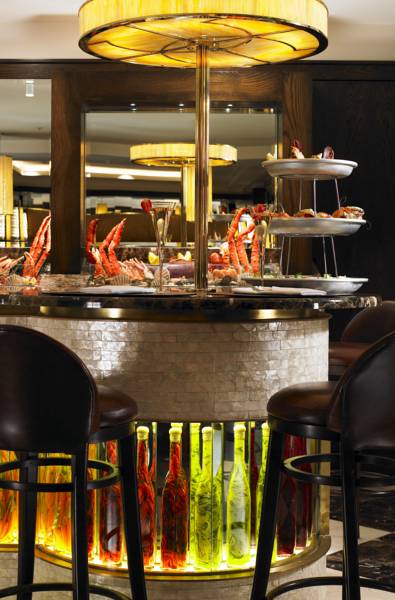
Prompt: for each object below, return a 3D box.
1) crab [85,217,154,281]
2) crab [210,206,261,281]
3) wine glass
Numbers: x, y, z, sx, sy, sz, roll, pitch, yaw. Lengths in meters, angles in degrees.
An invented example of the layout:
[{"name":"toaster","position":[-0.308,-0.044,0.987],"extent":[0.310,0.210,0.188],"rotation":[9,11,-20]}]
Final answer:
[{"name":"crab","position":[-0.285,-0.136,1.923],"extent":[0.163,0.279,0.300],"rotation":[4,8,40]},{"name":"crab","position":[0.169,-0.176,2.068],"extent":[0.083,0.397,0.220],"rotation":[4,3,-6]},{"name":"wine glass","position":[-0.114,-0.213,1.763],"extent":[0.111,0.425,0.174],"rotation":[2,5,-1]}]
